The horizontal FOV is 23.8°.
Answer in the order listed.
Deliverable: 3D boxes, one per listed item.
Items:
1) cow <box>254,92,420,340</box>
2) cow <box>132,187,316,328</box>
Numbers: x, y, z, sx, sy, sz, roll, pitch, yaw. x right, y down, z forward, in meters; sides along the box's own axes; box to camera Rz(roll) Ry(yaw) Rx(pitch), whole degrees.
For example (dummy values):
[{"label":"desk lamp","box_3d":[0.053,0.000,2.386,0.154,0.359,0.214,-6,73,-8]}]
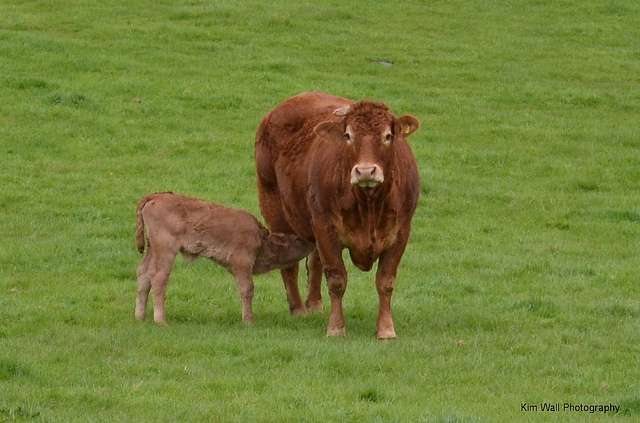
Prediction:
[{"label":"cow","box_3d":[1.005,-0.653,49.496,3.666,6.236,8.393,0,1,-16]},{"label":"cow","box_3d":[-2.845,1.608,47.932,5.850,4.100,1.522,2,-1,-16]}]
